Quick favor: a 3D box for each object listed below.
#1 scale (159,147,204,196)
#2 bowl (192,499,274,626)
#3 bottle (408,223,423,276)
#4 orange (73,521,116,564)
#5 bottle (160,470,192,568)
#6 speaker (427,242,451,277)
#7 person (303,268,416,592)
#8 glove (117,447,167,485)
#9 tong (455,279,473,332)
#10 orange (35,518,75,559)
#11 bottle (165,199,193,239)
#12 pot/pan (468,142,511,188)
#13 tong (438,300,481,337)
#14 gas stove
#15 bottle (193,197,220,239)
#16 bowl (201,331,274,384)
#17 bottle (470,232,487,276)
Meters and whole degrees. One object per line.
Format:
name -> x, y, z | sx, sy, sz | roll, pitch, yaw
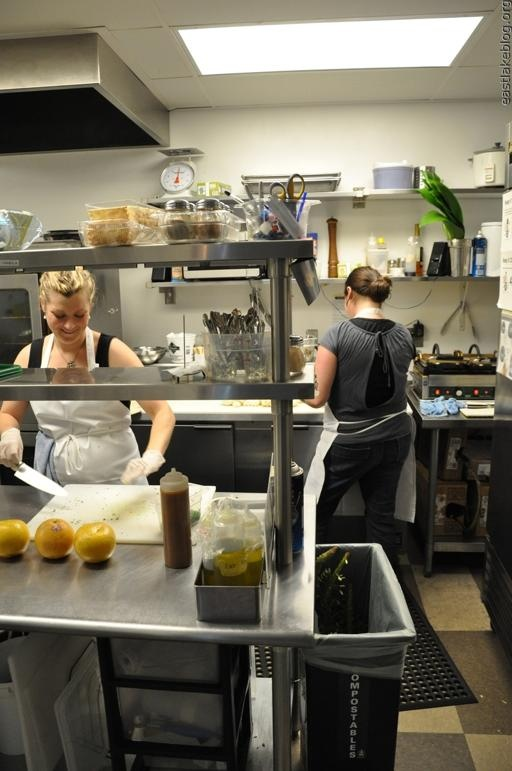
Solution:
scale -> -0.459, -1.332, 3.736 | 0.266, 0.280, 0.292 | -3, 14, -7
bowl -> -0.046, 0.313, 1.190 | 0.137, 0.193, 0.243 | -2, 14, 0
bottle -> 0.975, -0.833, 3.657 | 0.094, 0.297, 0.292 | 2, 14, 15
orange -> -0.349, 0.334, 1.287 | 0.083, 0.088, 0.086 | 2, -2, -22
bottle -> -0.169, 0.283, 1.263 | 0.061, 0.229, 0.099 | -4, 14, -9
speaker -> 1.065, -0.729, 3.466 | 0.128, 0.195, 0.122 | 3, 14, 17
person -> 0.455, 0.244, 2.739 | 0.522, 1.529, 0.438 | 0, 17, 5
glove -> -0.278, 0.197, 1.473 | 0.066, 0.033, 0.110 | -10, 7, 44
tong -> 1.328, -0.481, 3.765 | 0.106, 0.336, 0.051 | -7, 14, -22
orange -> -0.440, 0.336, 1.307 | 0.082, 0.104, 0.085 | 4, 16, -14
bottle -> -0.148, -0.317, 1.153 | 0.059, 0.077, 0.058 | -1, 14, 0
pot/pan -> 1.335, -1.258, 3.416 | 0.169, 0.246, 0.291 | 3, 15, 19
tong -> 1.289, -0.406, 3.839 | 0.261, 0.284, 0.174 | 2, -3, 2
gas stove -> 1.034, -0.050, 3.180 | 0.336, 0.231, 0.347 | 0, 3, 9
bottle -> -0.095, -0.321, 1.159 | 0.049, 0.078, 0.050 | -1, 14, 0
bowl -> -0.038, -0.067, 1.290 | 0.157, 0.102, 0.158 | -1, 8, 0
bottle -> 1.282, -0.753, 3.441 | 0.082, 0.236, 0.124 | -2, 14, -3
